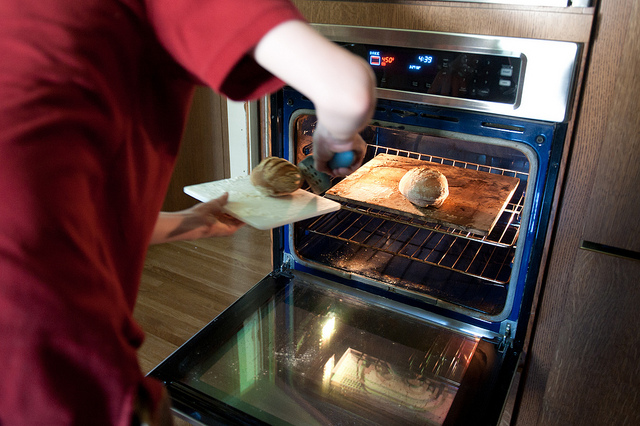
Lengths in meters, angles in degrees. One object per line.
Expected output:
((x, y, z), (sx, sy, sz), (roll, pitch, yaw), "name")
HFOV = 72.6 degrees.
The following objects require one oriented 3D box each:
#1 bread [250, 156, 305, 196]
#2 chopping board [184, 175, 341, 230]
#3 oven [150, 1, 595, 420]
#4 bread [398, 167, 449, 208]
((-0.128, -0.107, 1.281), (0.135, 0.104, 0.175), (-5, 10, -8), "bread")
((-0.156, -0.045, 1.208), (0.372, 0.047, 0.268), (21, 30, 29), "chopping board")
((0.181, -0.117, 1.339), (0.958, 0.886, 1.366), (14, 37, 23), "oven")
((0.314, -0.076, 1.353), (0.109, 0.050, 0.145), (-11, 19, -6), "bread")
